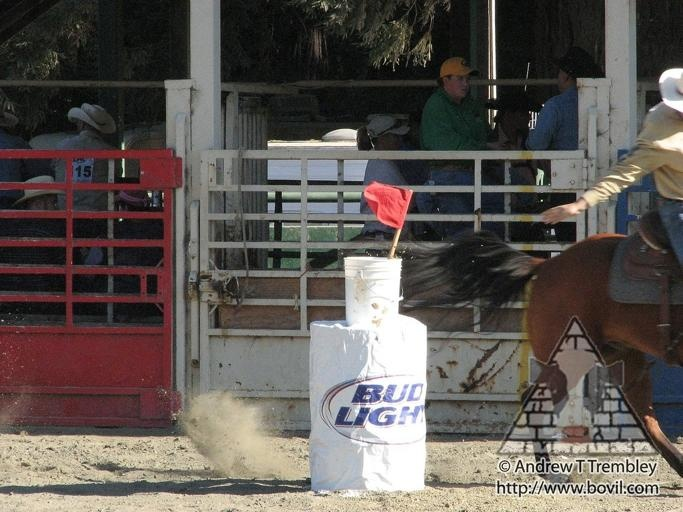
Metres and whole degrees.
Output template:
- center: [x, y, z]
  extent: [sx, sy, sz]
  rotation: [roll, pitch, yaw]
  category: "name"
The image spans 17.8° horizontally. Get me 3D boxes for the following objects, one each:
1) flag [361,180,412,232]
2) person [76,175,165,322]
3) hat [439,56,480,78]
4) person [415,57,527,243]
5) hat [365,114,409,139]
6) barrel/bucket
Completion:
- center: [0.405, -0.457, 19.067]
  extent: [0.404, 0.407, 0.202]
  rotation: [1, 6, 0]
  category: "flag"
- center: [-2.129, -0.088, 20.943]
  extent: [0.811, 1.335, 1.196]
  rotation: [1, 6, -7]
  category: "person"
- center: [1.113, -1.868, 21.236]
  extent: [0.285, 0.139, 0.208]
  rotation: [0, 5, 17]
  category: "hat"
- center: [1.169, -1.077, 21.061]
  extent: [0.823, 1.706, 0.997]
  rotation: [2, 6, 2]
  category: "person"
- center: [0.487, -1.313, 21.582]
  extent: [0.452, 0.216, 0.298]
  rotation: [-2, 12, -14]
  category: "hat"
- center: [0.256, 0.288, 18.984]
  extent: [0.563, 0.571, 0.564]
  rotation: [0, 0, 0]
  category: "barrel/bucket"
